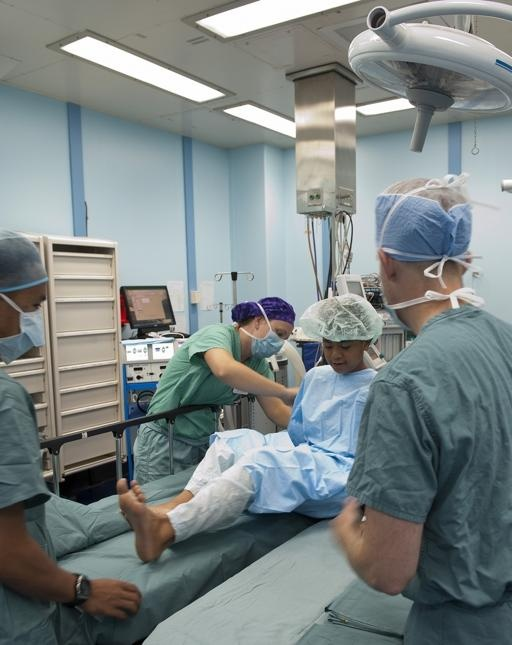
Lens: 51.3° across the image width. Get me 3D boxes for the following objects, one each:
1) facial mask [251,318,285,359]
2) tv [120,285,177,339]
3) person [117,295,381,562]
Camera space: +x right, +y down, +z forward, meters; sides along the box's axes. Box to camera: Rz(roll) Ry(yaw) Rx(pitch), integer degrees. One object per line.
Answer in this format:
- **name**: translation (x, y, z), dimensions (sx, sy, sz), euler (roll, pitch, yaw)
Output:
- **facial mask**: translation (0.037, 0.074, 2.316), dimensions (0.091, 0.134, 0.119), euler (-28, -10, 10)
- **tv**: translation (-0.927, -0.081, 4.464), dimensions (0.158, 0.400, 0.487), euler (-18, -10, 37)
- **person**: translation (-0.044, 0.321, 2.085), dimensions (1.210, 0.805, 0.534), euler (-10, 5, -31)
